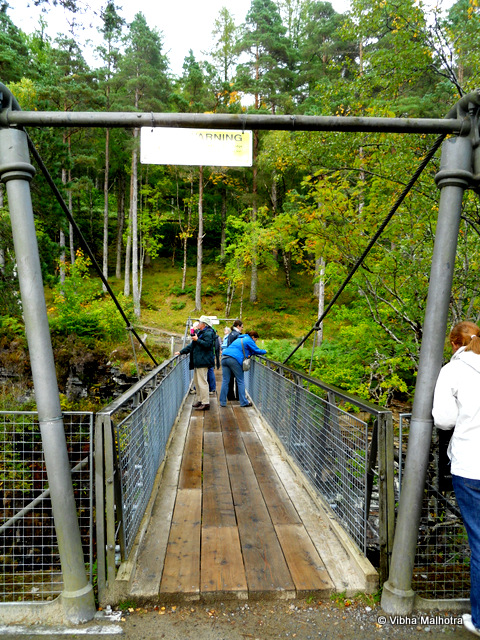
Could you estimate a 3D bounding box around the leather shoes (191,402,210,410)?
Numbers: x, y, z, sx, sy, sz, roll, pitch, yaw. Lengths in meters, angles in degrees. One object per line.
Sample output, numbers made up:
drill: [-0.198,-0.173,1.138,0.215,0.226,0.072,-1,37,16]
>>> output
leather shoes: [-0.587,1.225,8.121,0.290,0.124,0.097,8,-3,-27]

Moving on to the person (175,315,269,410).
person: [-0.167,0.661,8.283,1.069,0.962,1.623,1,-1,9]
